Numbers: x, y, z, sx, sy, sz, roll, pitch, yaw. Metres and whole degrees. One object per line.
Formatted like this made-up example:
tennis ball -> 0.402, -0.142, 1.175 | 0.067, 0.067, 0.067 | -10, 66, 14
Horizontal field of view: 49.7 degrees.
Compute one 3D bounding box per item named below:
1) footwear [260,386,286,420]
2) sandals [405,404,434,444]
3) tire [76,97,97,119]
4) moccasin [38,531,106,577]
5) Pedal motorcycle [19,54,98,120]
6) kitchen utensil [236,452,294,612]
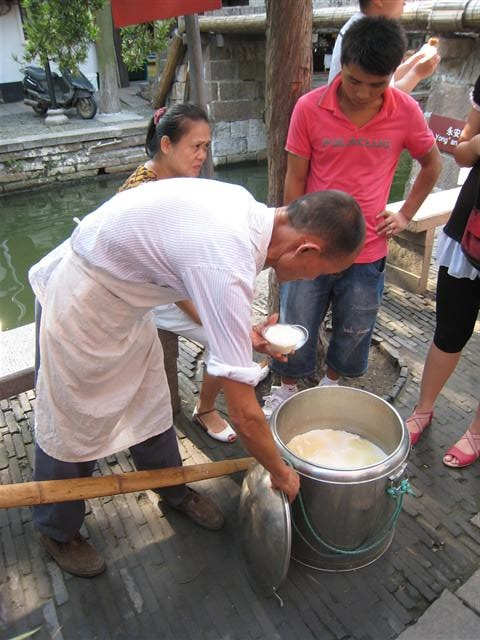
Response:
footwear -> 0.155, 0.474, 2.901 | 0.101, 0.131, 0.224 | -3, -16, -38
sandals -> 0.905, 0.535, 2.610 | 0.079, 0.069, 0.228 | 27, 69, 20
tire -> -3.364, -4.674, 11.387 | 0.619, 0.554, 0.191 | 3, 11, 29
moccasin -> -0.685, 0.913, 2.087 | 0.320, 0.117, 0.131 | 26, 34, 30
Pedal motorcycle -> -3.990, -5.186, 11.487 | 2.061, 1.245, 0.884 | 15, 27, 23
kitchen utensil -> 0.084, 0.760, 1.811 | 0.109, 0.367, 0.432 | -3, 31, -11
